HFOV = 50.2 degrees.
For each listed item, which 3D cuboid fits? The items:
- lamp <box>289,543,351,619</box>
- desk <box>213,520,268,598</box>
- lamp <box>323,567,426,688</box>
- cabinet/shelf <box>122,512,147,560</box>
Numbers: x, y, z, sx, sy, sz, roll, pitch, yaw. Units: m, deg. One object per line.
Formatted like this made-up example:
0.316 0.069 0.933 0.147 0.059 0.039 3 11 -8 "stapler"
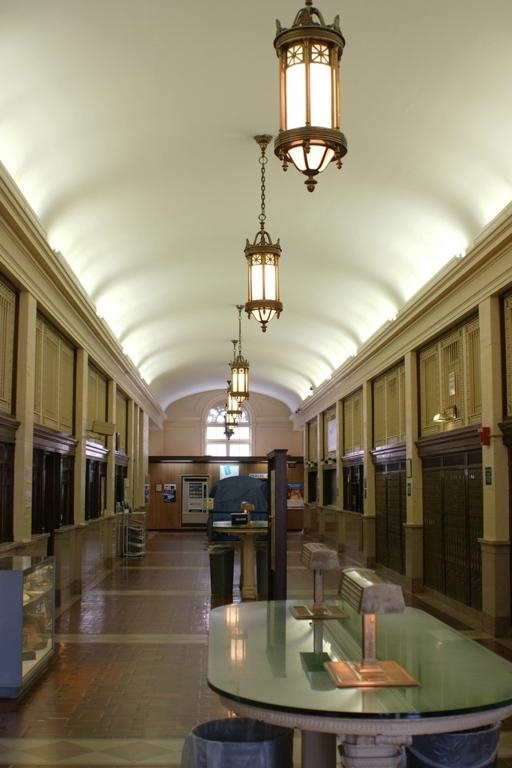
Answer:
0.289 0.964 2.698 0.206 0.308 0.306 -4 -16 -7 "lamp"
-0.174 2.967 9.538 1.250 1.420 1.308 0 -14 -3 "desk"
0.351 0.756 1.711 0.200 0.287 0.301 3 -12 2 "lamp"
-3.471 4.134 15.123 0.733 1.245 0.613 3 -11 -37 "cabinet/shelf"
